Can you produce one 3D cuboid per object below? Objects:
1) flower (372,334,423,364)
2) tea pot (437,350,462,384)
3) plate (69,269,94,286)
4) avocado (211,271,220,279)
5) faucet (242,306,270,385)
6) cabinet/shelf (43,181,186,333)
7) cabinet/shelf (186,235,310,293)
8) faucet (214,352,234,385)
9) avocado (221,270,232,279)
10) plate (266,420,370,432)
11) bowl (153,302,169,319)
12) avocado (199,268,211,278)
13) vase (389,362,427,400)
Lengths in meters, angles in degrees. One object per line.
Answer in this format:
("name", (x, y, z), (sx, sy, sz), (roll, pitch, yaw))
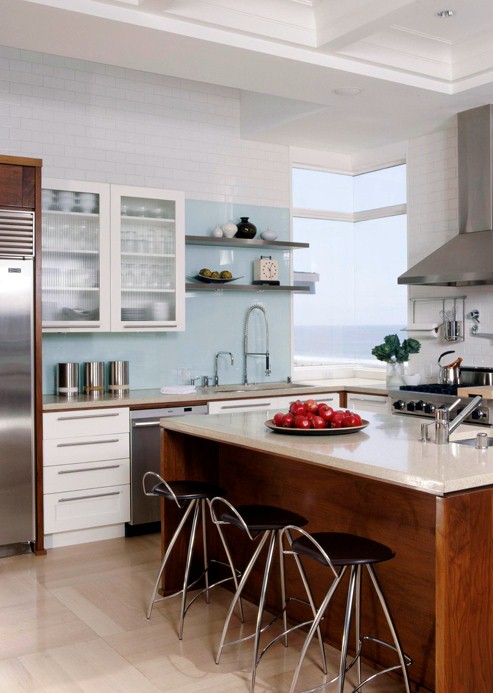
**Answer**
("flower", (1.277, 0.019, 4.872), (0.290, 0.194, 0.297), (3, 9, 43))
("tea pot", (1.659, 0.164, 4.677), (0.184, 0.263, 0.434), (-1, 0, 18))
("plate", (-1.165, -0.496, 4.123), (0.157, 0.120, 0.026), (-1, 0, -39))
("avocado", (-0.265, -0.611, 4.923), (0.065, 0.036, 0.100), (0, 20, -6))
("faucet", (0.102, -0.026, 5.317), (0.360, 0.734, 0.141), (-1, 0, -33))
("cabinet/shelf", (-1.007, -0.666, 4.232), (1.239, 1.042, 0.396), (0, 0, -31))
("cabinet/shelf", (0.071, -0.724, 5.136), (1.494, 0.481, 0.361), (-1, 0, -35))
("faucet", (-0.196, 0.192, 5.126), (0.213, 0.307, 0.167), (-1, 0, -15))
("avocado", (-0.173, -0.627, 4.992), (0.083, 0.080, 0.045), (1, -3, -5))
("plate", (0.287, 0.334, 2.342), (0.426, 0.054, 0.227), (-1, 0, 5))
("bowl", (-0.672, -0.282, 4.522), (0.127, 0.133, 0.132), (0, -2, 0))
("avocado", (-0.349, -0.627, 4.893), (0.111, 0.079, 0.109), (-1, 0, 9))
("vase", (1.328, 0.272, 4.809), (0.419, 0.285, 0.238), (-2, 0, -27))
